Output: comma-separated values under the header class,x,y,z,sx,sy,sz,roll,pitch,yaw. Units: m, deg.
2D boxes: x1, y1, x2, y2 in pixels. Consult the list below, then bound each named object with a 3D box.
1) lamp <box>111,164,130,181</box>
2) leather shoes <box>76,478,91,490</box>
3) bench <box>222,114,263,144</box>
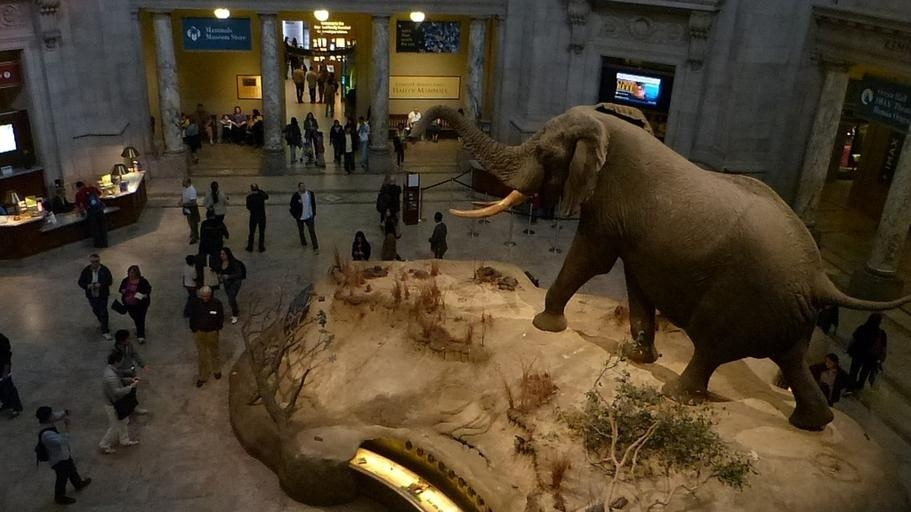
class,x,y,z,sx,sy,sz,roll,pitch,yaw
lamp,-10.849,-2.755,18.870,0.571,0.575,0.572,-10,43,-32
leather shoes,-7.207,4.378,11.283,0.097,0.181,0.265,30,37,26
bench,-9.372,-5.497,25.540,1.572,0.940,0.762,1,20,-2
